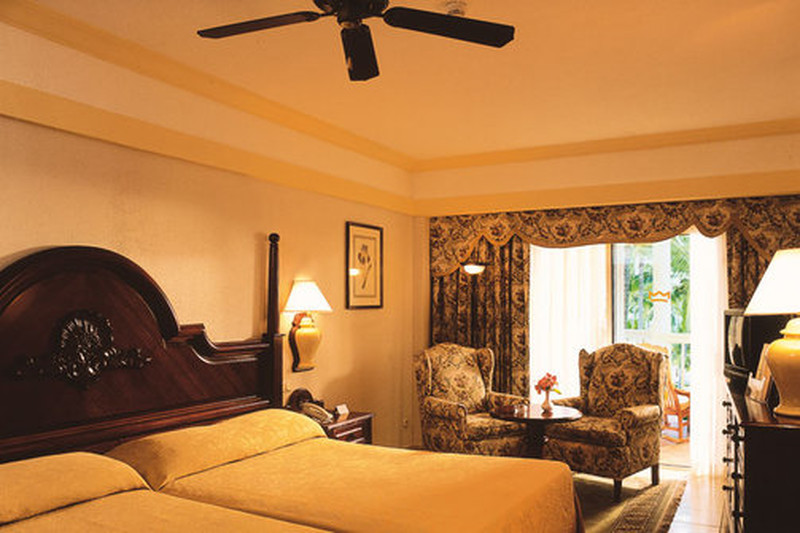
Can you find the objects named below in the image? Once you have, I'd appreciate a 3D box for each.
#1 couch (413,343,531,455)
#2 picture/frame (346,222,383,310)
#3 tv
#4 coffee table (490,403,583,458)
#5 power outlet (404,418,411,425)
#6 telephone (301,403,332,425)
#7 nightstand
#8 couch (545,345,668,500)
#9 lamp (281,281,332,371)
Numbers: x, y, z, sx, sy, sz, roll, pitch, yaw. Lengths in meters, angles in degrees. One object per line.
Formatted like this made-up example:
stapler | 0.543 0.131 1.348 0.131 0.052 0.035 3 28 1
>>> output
couch | 0.824 1.544 7.125 1.165 1.363 1.173 6 -18 -32
picture/frame | -0.437 0.001 7.053 0.079 1.149 1.033 -3 -4 27
tv | 3.395 0.754 5.846 0.406 0.673 0.521 1 -2 6
coffee table | 1.449 1.618 6.269 0.684 0.461 0.680 -1 4 21
power outlet | 0.075 1.952 7.729 0.012 0.062 0.106 -2 -6 27
telephone | -0.790 1.392 5.840 0.258 0.083 0.166 22 1 18
nightstand | -0.666 1.457 6.182 0.626 0.898 0.714 -3 0 22
couch | 2.161 1.604 6.666 1.323 1.395 1.365 -1 -3 14
lamp | -0.929 0.592 6.114 0.537 0.867 0.449 -1 -9 -29
